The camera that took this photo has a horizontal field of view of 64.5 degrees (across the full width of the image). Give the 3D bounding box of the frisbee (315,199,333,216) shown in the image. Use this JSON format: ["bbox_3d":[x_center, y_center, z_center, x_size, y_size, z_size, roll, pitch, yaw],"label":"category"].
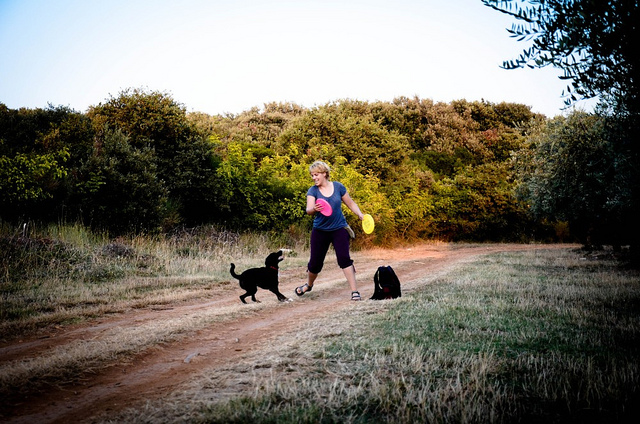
[{"bbox_3d":[0.084,-0.091,10.614,0.380,0.348,0.147,-1,-5,-35],"label":"frisbee"}]

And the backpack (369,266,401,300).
[{"bbox_3d":[1.422,1.555,10.972,0.601,0.732,0.477,-7,-5,2],"label":"backpack"}]

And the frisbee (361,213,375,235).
[{"bbox_3d":[1.126,0.315,11.353,0.106,0.412,0.411,-7,-42,-29],"label":"frisbee"}]
